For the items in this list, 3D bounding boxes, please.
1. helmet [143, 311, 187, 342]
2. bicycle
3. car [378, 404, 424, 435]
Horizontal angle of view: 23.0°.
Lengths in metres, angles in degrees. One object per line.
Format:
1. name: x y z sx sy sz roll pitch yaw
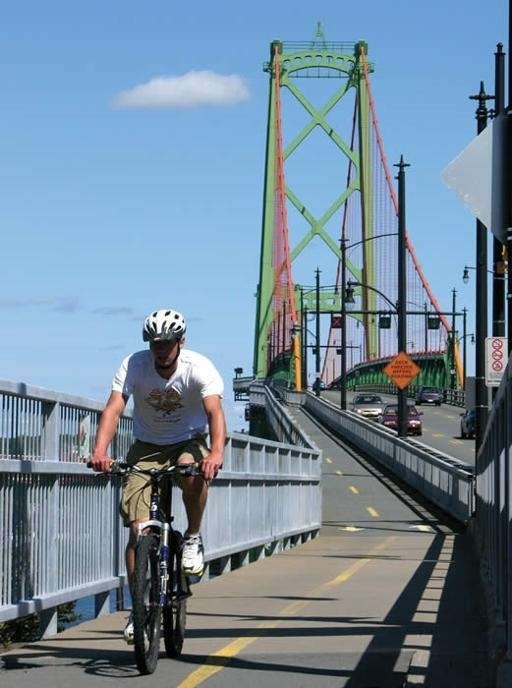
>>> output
1. helmet: -0.409 -0.072 5.641 0.156 0.134 0.235 -2 6 11
2. bicycle: -0.480 1.124 5.984 0.456 0.680 1.039 -1 -9 4
3. car: 5.665 2.850 48.310 1.024 0.924 1.862 0 -7 -3
